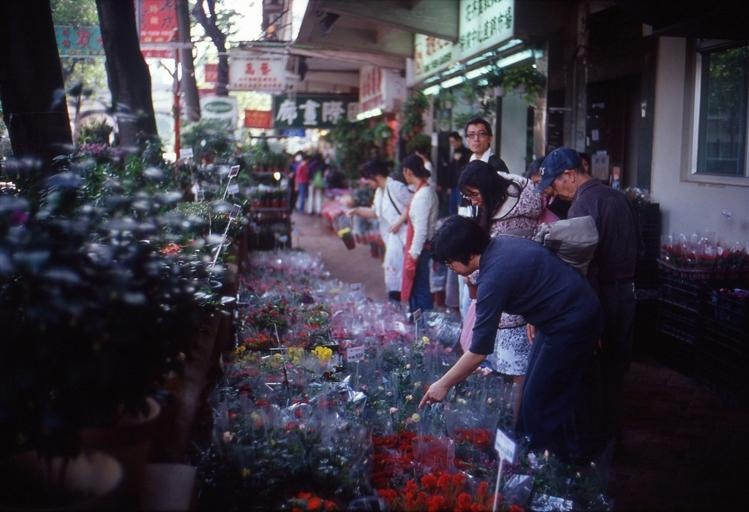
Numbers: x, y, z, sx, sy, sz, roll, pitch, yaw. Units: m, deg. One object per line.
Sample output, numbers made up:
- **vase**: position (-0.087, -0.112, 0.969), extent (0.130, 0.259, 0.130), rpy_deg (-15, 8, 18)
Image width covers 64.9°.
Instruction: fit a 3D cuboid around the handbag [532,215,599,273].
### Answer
- **handbag**: position (1.156, -0.109, 3.664), extent (0.327, 0.361, 0.134), rpy_deg (-24, -9, -32)
